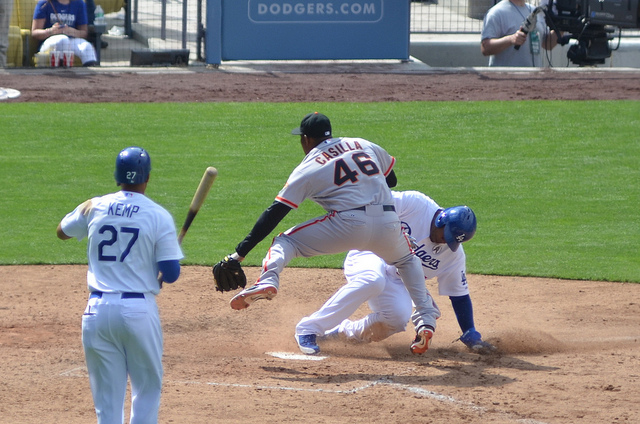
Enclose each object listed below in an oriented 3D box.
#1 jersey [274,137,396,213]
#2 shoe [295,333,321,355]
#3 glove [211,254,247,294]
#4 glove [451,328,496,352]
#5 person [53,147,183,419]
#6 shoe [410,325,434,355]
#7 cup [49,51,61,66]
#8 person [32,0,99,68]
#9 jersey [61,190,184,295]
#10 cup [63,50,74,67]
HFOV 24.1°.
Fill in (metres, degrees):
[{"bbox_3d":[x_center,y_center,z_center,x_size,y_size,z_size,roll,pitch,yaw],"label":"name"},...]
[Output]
[{"bbox_3d":[0.314,-0.443,19.574,1.820,0.656,0.941,-10,38,-17],"label":"jersey"},{"bbox_3d":[-0.114,1.765,19.953,0.355,0.273,0.233,0,8,-15],"label":"shoe"},{"bbox_3d":[-1.181,0.829,19.604,0.477,0.442,0.201,2,22,14],"label":"glove"},{"bbox_3d":[2.088,1.712,20.011,0.609,0.249,0.200,1,35,30],"label":"glove"},{"bbox_3d":[-2.338,0.869,18.427,1.296,3.277,0.761,1,8,-9],"label":"person"},{"bbox_3d":[1.370,1.678,19.903,0.219,0.440,0.216,28,14,-4],"label":"shoe"},{"bbox_3d":[-4.853,-2.814,27.526,0.204,0.275,0.211,2,8,0],"label":"cup"},{"bbox_3d":[-4.667,-3.271,27.362,1.093,1.155,0.518,1,8,-12],"label":"person"},{"bbox_3d":[-2.380,0.372,18.454,1.432,1.241,0.481,2,8,-3],"label":"jersey"},{"bbox_3d":[-4.623,-2.823,27.603,0.265,0.345,0.255,0,4,0],"label":"cup"}]
